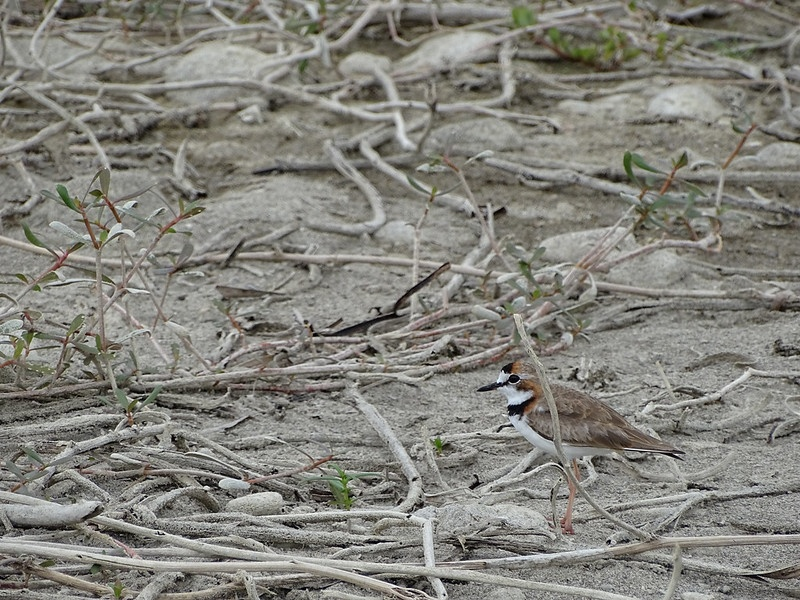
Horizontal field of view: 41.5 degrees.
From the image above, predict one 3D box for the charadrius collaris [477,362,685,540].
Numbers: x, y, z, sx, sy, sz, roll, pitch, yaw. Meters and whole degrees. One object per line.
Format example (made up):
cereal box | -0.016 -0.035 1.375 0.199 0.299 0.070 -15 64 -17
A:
charadrius collaris | 0.707 0.622 4.916 0.733 0.392 0.924 -37 59 -20
